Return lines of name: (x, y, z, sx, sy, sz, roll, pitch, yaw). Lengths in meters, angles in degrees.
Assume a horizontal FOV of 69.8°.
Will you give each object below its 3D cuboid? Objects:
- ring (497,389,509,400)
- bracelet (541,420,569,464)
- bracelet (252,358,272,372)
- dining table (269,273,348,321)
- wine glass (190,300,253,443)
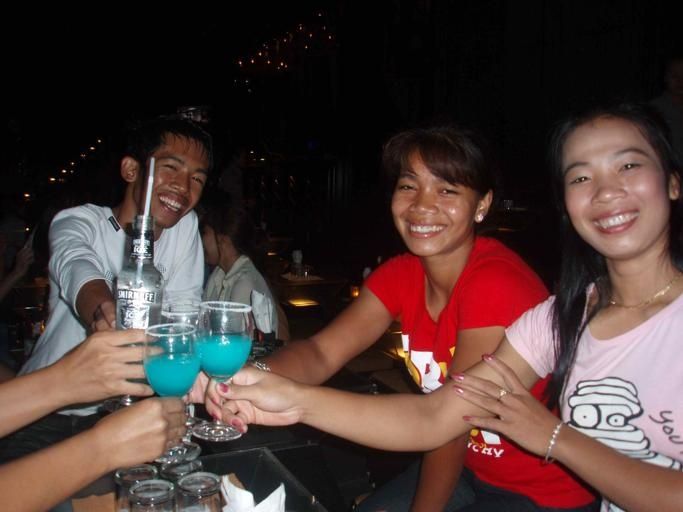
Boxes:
ring: (0.561, 0.484, 1.714, 0.034, 0.016, 0.029, -43, 4, 13)
bracelet: (0.721, 0.636, 1.669, 0.054, 0.141, 0.066, -2, -4, 45)
bracelet: (-0.336, 0.453, 2.097, 0.077, 0.039, 0.105, 11, 1, -12)
dining table: (-0.405, 0.794, 7.315, 1.203, 0.735, 1.526, 1, -7, 3)
wine glass: (-0.448, 0.454, 1.828, 0.193, 0.562, 0.365, 2, -4, -17)
